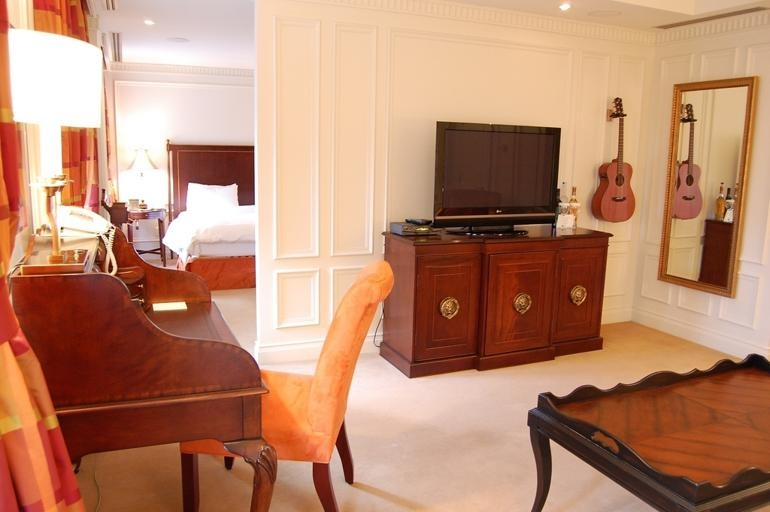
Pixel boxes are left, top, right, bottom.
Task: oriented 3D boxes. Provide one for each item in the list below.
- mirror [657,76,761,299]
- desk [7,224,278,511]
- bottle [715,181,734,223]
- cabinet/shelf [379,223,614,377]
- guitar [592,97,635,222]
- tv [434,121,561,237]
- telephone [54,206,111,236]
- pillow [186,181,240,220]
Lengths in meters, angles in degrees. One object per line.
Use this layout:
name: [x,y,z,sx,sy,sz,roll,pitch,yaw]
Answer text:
mirror: [3.084,-0.670,5.202,0.273,1.977,0.913,-7,15,-26]
desk: [-1.117,0.406,2.600,0.840,0.977,1.053,-3,8,-19]
bottle: [3.181,-0.500,5.048,0.167,0.347,0.064,13,19,42]
cabinet/shelf: [1.057,0.365,4.987,2.124,1.141,0.688,-3,10,-24]
guitar: [2.341,-0.962,5.474,0.375,1.249,0.403,10,16,33]
tv: [0.955,-0.698,4.820,1.166,0.770,0.083,-3,14,-20]
telephone: [-1.686,-0.177,2.991,0.254,0.072,0.176,11,30,-31]
pillow: [-2.597,-0.897,8.176,0.776,0.372,0.828,-5,14,-25]
